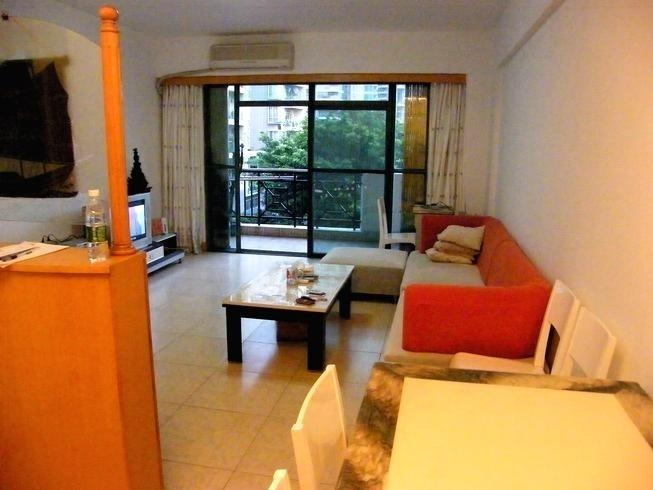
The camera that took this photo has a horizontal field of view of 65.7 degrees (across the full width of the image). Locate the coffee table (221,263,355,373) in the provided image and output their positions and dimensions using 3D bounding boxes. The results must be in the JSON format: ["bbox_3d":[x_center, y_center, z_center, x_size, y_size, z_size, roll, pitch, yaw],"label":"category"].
[{"bbox_3d":[-0.298,0.529,4.468,0.859,0.626,1.222,4,15,12],"label":"coffee table"}]

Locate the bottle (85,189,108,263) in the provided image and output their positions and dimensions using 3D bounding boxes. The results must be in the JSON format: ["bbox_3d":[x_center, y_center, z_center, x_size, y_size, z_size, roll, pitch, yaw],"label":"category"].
[{"bbox_3d":[-1.048,-0.101,2.297,0.090,0.304,0.217,-6,16,-25],"label":"bottle"}]

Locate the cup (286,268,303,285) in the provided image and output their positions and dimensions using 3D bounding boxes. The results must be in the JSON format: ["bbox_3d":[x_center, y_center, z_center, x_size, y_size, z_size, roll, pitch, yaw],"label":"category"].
[{"bbox_3d":[-0.265,0.280,4.506,0.169,0.164,0.106,2,8,5],"label":"cup"}]
